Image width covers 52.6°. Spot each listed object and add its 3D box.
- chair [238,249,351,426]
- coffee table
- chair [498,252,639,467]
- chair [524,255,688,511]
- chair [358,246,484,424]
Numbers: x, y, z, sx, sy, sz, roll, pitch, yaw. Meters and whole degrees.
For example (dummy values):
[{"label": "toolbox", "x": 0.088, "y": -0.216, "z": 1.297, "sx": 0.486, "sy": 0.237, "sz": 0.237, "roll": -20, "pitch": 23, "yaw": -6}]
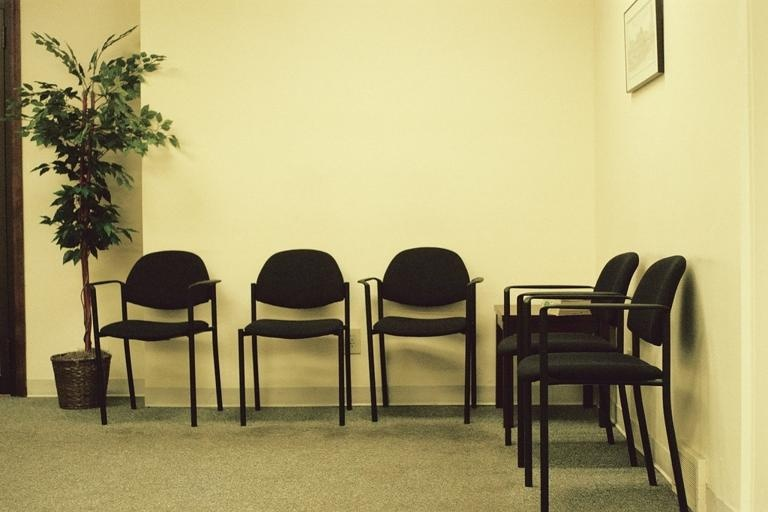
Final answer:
[{"label": "chair", "x": -0.596, "y": 0.559, "z": 5.258, "sx": 0.849, "sy": 1.182, "sz": 0.798, "roll": -1, "pitch": 1, "yaw": -26}, {"label": "coffee table", "x": 1.143, "y": 0.753, "z": 5.120, "sx": 0.700, "sy": 0.686, "sz": 0.640, "roll": 1, "pitch": -7, "yaw": 4}, {"label": "chair", "x": 1.204, "y": 0.652, "z": 5.034, "sx": 0.870, "sy": 1.358, "sz": 1.020, "roll": -2, "pitch": 0, "yaw": 1}, {"label": "chair", "x": 1.248, "y": 0.710, "z": 4.405, "sx": 0.967, "sy": 1.423, "sz": 0.593, "roll": -1, "pitch": -3, "yaw": 5}, {"label": "chair", "x": 0.258, "y": 0.533, "z": 5.286, "sx": 0.803, "sy": 1.211, "sz": 0.607, "roll": 0, "pitch": 0, "yaw": 7}]
